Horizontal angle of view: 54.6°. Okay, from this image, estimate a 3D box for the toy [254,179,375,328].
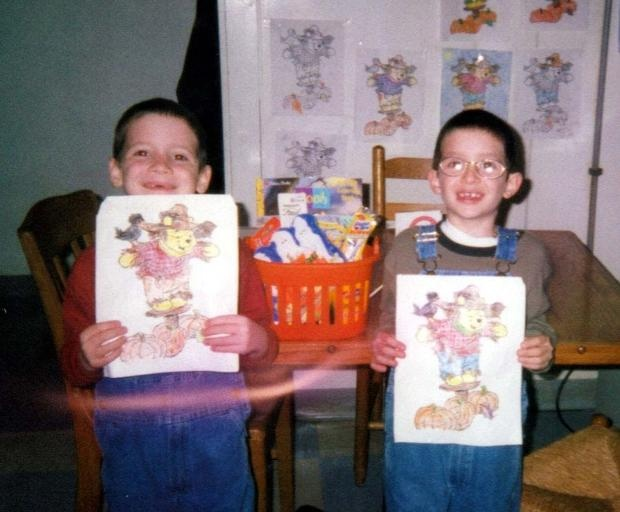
[{"bbox_3d":[0.025,-0.023,1.675,0.438,0.370,0.484,-1,16,3],"label":"toy"}]

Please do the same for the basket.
[{"bbox_3d":[0.008,0.063,1.456,0.351,0.176,0.238,-1,5,4],"label":"basket"}]
